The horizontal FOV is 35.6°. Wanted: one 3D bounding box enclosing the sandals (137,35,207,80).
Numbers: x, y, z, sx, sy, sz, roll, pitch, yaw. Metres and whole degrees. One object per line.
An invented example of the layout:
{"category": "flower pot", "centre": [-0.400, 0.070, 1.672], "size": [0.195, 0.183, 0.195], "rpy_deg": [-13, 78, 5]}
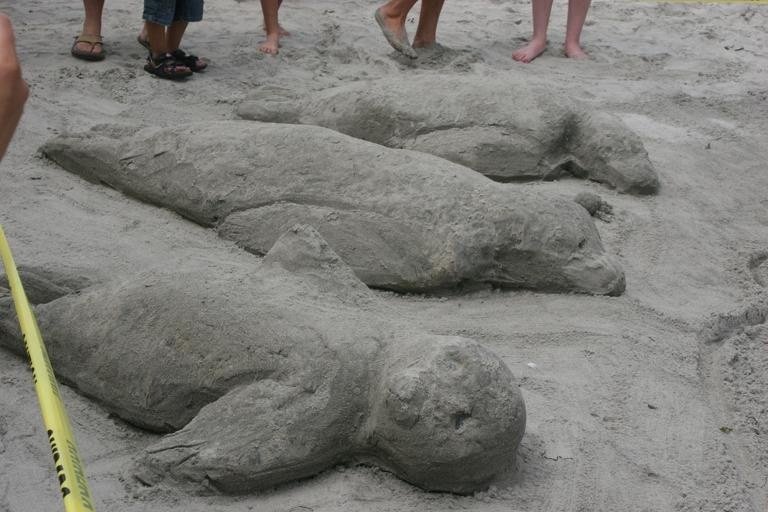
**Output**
{"category": "sandals", "centre": [-1.786, -1.618, 9.801], "size": [0.452, 0.122, 0.257], "rpy_deg": [25, 42, 26]}

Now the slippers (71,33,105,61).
{"category": "slippers", "centre": [-2.408, -1.702, 9.824], "size": [0.263, 0.187, 0.169], "rpy_deg": [1, 29, -13]}
